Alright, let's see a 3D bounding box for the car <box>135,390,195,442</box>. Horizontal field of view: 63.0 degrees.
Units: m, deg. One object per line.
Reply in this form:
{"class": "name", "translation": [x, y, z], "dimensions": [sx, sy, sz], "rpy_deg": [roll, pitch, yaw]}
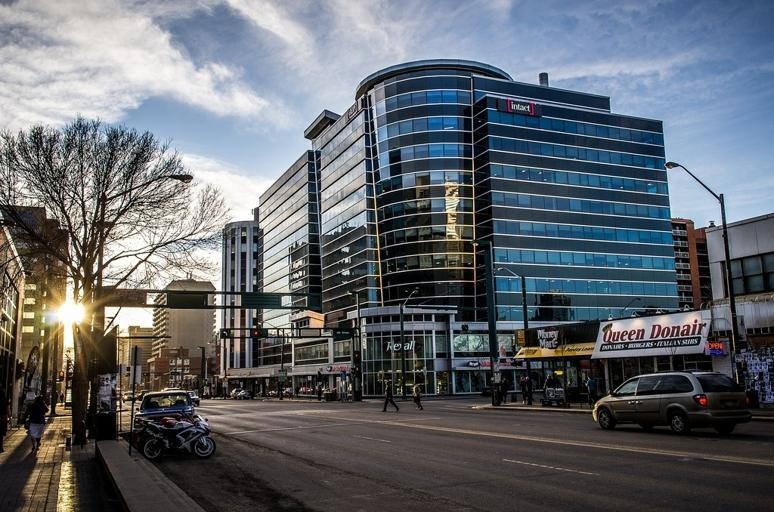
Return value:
{"class": "car", "translation": [-10.134, 7.377, 28.777], "dimensions": [3.420, 2.224, 1.409], "rpy_deg": [4, -9, -28]}

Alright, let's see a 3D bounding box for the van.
{"class": "van", "translation": [11.892, 6.310, 25.999], "dimensions": [6.682, 2.711, 2.374], "rpy_deg": [-8, -11, 44]}

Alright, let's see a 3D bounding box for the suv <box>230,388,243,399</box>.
{"class": "suv", "translation": [-24.851, 23.081, 105.252], "dimensions": [2.586, 1.759, 4.074], "rpy_deg": [1, -5, -6]}
